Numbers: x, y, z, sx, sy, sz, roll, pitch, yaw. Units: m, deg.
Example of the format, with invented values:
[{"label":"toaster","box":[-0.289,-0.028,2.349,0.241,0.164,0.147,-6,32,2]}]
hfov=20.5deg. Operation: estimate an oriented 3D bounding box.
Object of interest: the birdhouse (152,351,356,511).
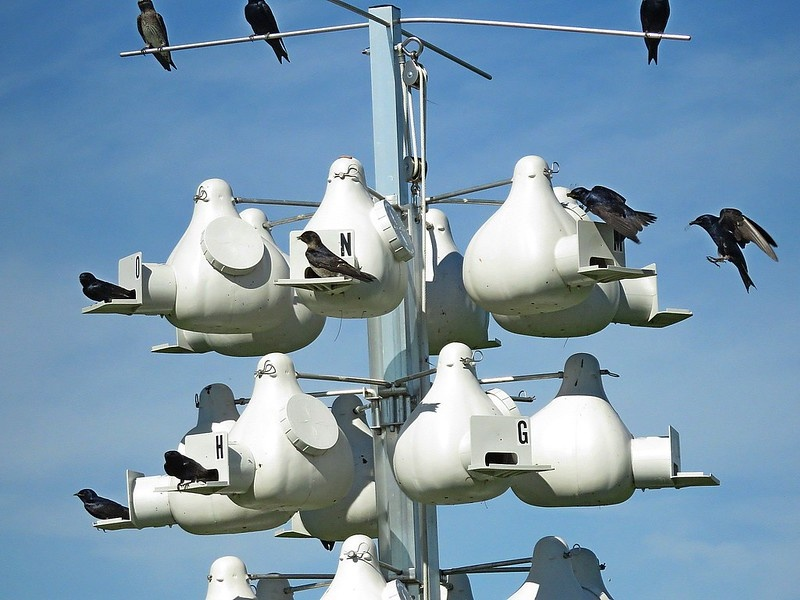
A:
[{"label":"birdhouse","box":[-1.276,1.254,21.347,1.216,1.642,1.690,-12,-13,43]}]

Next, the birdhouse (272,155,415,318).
[{"label":"birdhouse","box":[-0.476,-0.635,21.252,1.052,1.713,1.579,-4,-9,11]}]

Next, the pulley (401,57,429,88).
[{"label":"pulley","box":[0.159,-2.298,21.733,0.173,0.335,0.373,6,-18,-20]}]

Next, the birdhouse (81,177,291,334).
[{"label":"birdhouse","box":[-2.123,-0.429,21.805,2.188,1.849,1.471,3,-11,-33]}]

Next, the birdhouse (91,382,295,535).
[{"label":"birdhouse","box":[-1.865,1.592,22.283,1.096,1.976,2.282,-7,6,-31]}]

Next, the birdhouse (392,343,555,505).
[{"label":"birdhouse","box":[0.645,1.107,20.816,1.026,1.599,1.454,12,-14,-36]}]

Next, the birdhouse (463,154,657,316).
[{"label":"birdhouse","box":[1.463,-0.695,21.330,1.527,1.695,1.106,-7,-17,33]}]

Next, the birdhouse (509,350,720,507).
[{"label":"birdhouse","box":[2.167,1.261,21.826,1.886,1.699,1.177,-2,-13,10]}]
